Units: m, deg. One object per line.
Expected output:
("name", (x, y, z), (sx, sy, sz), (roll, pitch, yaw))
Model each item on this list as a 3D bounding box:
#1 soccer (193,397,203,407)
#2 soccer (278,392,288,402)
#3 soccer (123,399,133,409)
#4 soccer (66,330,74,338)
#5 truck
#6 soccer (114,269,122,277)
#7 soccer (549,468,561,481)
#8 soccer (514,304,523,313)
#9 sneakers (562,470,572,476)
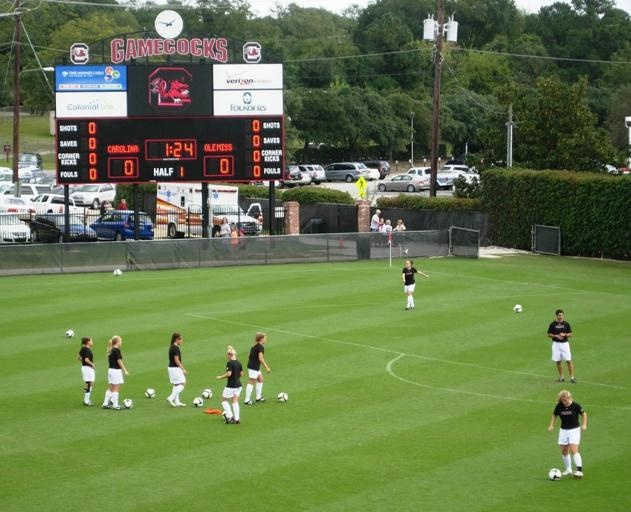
("soccer", (-3.673, 4.605, 34.460), (0.256, 0.270, 0.248), (24, -31, -39))
("soccer", (-1.021, 4.455, 34.702), (0.245, 0.268, 0.246), (-16, 16, -28))
("soccer", (-5.830, 4.612, 34.160), (0.250, 0.270, 0.260), (8, 18, 34))
("soccer", (-9.158, 2.907, 40.823), (0.199, 0.232, 0.266), (-1, 0, -4))
("truck", (-6.905, -2.692, 64.941), (5.620, 3.061, 3.347), (2, 3, 38))
("soccer", (-9.323, 0.797, 51.699), (0.293, 0.329, 0.392), (1, 2, -7))
("soccer", (6.553, 5.927, 29.935), (0.363, 0.264, 0.397), (4, 14, 16))
("soccer", (8.071, 2.103, 43.478), (0.296, 0.304, 0.308), (-2, 2, -14))
("sneakers", (6.890, 5.946, 30.034), (0.220, 0.108, 0.131), (1, 0, -22))
